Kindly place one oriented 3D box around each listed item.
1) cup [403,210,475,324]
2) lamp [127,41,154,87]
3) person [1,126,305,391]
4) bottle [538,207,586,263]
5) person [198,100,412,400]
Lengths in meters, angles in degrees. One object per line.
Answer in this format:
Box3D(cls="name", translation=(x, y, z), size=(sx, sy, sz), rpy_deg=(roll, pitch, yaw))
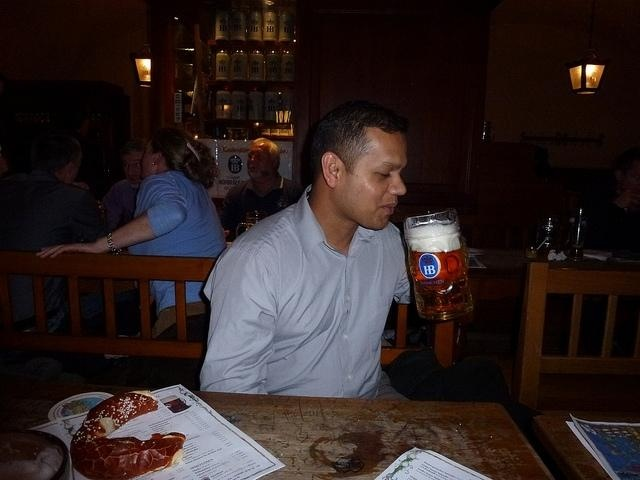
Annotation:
Box3D(cls="cup", translation=(0.365, 0.081, 1.547), size=(0.226, 0.341, 0.145), rpy_deg=(0, 6, 1))
Box3D(cls="lamp", translation=(-1.809, -1.799, 5.250), size=(0.193, 0.429, 0.284), rpy_deg=(-2, 6, -20))
Box3D(cls="person", translation=(-0.646, 0.316, 3.475), size=(1.337, 2.089, 1.203), rpy_deg=(2, -20, 3))
Box3D(cls="bottle", translation=(1.516, -0.054, 3.225), size=(0.252, 0.277, 1.155), rpy_deg=(3, 5, 28))
Box3D(cls="person", translation=(-0.009, 0.039, 1.726), size=(0.799, 1.011, 0.287), rpy_deg=(-2, 6, -21))
